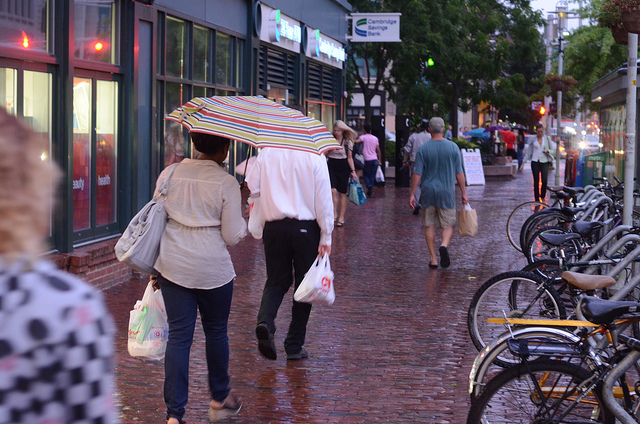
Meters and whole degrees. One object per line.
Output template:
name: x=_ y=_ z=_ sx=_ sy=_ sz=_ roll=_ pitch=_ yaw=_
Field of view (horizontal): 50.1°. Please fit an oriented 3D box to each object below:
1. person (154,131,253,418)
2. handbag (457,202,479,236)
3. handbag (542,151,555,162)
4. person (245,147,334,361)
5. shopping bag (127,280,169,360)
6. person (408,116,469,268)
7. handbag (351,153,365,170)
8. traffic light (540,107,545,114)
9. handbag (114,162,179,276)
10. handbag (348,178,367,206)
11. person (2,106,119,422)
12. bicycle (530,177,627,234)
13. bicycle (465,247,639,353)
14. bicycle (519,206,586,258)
person: x=-0.875 y=0.593 z=5.032 sx=0.631 sy=1.955 sz=0.494 roll=-3 pitch=7 yaw=-32
handbag: x=2.290 y=0.093 z=10.655 sx=0.297 sy=0.528 sz=0.263 roll=7 pitch=14 yaw=44
handbag: x=5.985 y=-1.455 z=17.917 sx=0.185 sy=0.292 sz=0.688 roll=4 pitch=7 yaw=30
person: x=-0.221 y=0.403 z=6.451 sx=0.737 sy=1.938 sz=0.878 roll=1 pitch=1 yaw=35
shopping bag: x=-1.300 y=0.703 z=5.202 sx=0.291 sy=0.790 sz=0.352 roll=3 pitch=11 yaw=-19
person: x=1.935 y=-0.329 z=11.000 sx=0.848 sy=2.276 sz=1.022 roll=0 pitch=1 yaw=14
handbag: x=0.937 y=-1.220 z=17.118 sx=0.348 sy=0.187 sz=0.516 roll=13 pitch=34 yaw=-20
traffic light: x=10.741 y=-4.910 z=33.097 sx=0.119 sy=0.297 sz=0.452 roll=1 pitch=7 yaw=7
handbag: x=-1.235 y=0.048 z=4.901 sx=0.418 sy=0.723 sz=0.327 roll=-1 pitch=6 yaw=-16
handbag: x=0.806 y=-0.443 z=14.776 sx=0.384 sy=0.598 sz=0.408 roll=-2 pitch=6 yaw=-22
person: x=-0.707 y=0.155 z=1.869 sx=0.276 sy=0.871 sz=0.307 roll=-2 pitch=6 yaw=-19
bicycle: x=4.151 y=-0.115 z=11.051 sx=1.199 sy=0.817 sz=0.651 roll=-22 pitch=12 yaw=1
bicycle: x=2.296 y=0.813 z=6.370 sx=1.755 sy=1.168 sz=0.939 roll=-3 pitch=6 yaw=2
bicycle: x=3.628 y=0.276 z=10.800 sx=0.932 sy=0.651 sz=0.491 roll=1 pitch=-3 yaw=-1
